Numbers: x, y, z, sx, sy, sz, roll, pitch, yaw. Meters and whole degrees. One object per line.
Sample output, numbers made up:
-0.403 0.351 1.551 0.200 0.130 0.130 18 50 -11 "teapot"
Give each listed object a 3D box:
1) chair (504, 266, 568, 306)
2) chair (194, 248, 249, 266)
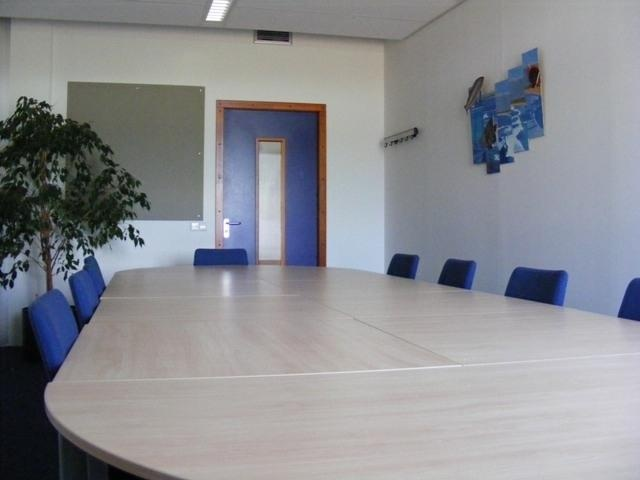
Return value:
1.193 0.264 2.772 0.408 0.282 0.239 -6 -2 -43 "chair"
-0.950 0.159 4.699 0.475 0.146 0.160 -1 4 -12 "chair"
